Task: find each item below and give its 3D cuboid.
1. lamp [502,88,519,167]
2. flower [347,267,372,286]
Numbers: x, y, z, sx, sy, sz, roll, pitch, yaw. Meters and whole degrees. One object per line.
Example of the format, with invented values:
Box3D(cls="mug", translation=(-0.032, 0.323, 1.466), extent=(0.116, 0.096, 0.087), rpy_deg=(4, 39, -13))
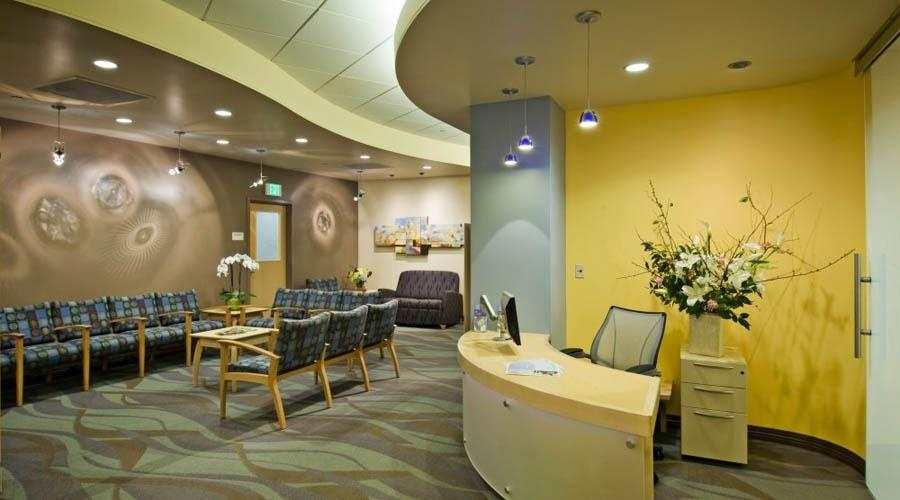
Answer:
Box3D(cls="lamp", translation=(0.862, -1.752, 7.636), extent=(0.239, 0.887, 0.455), rpy_deg=(2, 1, 5))
Box3D(cls="flower", translation=(-2.348, 0.666, 13.450), extent=(0.552, 0.434, 0.540), rpy_deg=(0, 1, 19))
